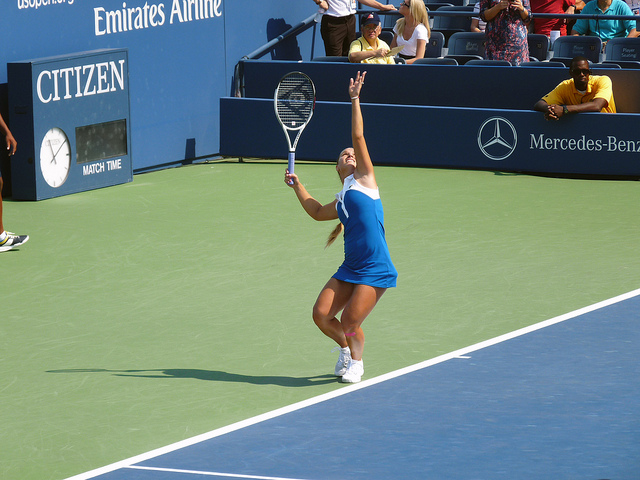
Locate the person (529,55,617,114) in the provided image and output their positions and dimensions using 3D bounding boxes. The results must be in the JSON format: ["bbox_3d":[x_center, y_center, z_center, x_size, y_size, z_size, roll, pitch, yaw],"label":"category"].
[{"bbox_3d":[4.046,-2.442,12.208,1.178,0.854,0.541,-1,11,10],"label":"person"}]

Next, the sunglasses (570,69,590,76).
[{"bbox_3d":[4.026,-2.617,11.957,0.156,0.125,0.046,-1,25,8],"label":"sunglasses"}]

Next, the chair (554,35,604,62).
[{"bbox_3d":[4.847,-3.634,14.515,0.868,0.583,0.698,2,9,23],"label":"chair"}]

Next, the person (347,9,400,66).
[{"bbox_3d":[0.984,-3.822,14.577,0.942,1.172,1.907,-3,10,5],"label":"person"}]

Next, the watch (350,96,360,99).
[{"bbox_3d":[0.265,-1.095,5.918,0.044,0.018,0.079,-3,9,0],"label":"watch"}]

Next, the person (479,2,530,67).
[{"bbox_3d":[3.265,-3.604,13.517,0.745,1.024,0.812,-2,11,11],"label":"person"}]

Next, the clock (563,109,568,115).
[{"bbox_3d":[3.852,-2.034,12.136,0.068,0.075,0.021,2,-4,-13],"label":"clock"}]

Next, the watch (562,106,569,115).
[{"bbox_3d":[3.844,-2.035,12.134,0.031,0.094,0.079,-2,20,-16],"label":"watch"}]

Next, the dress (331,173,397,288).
[{"bbox_3d":[0.312,-0.065,5.849,0.482,0.858,0.329,-3,11,5],"label":"dress"}]
